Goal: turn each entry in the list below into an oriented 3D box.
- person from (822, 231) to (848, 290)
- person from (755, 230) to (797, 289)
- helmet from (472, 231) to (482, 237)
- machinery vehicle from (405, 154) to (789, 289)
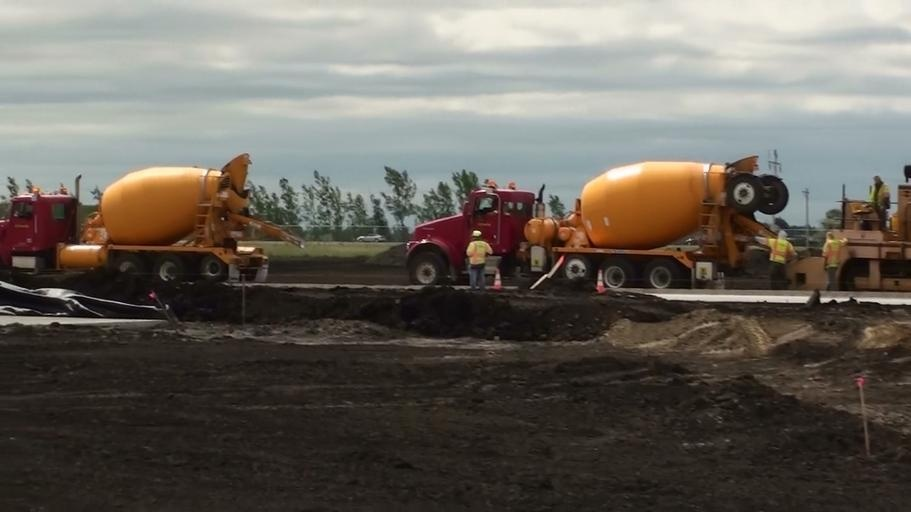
[{"bbox_3d":[11.148,0.150,28.540,0.539,1.728,1.066,6,13,29],"label":"person"},{"bbox_3d":[9.478,0.117,28.531,0.971,1.741,1.120,3,12,14],"label":"person"},{"bbox_3d":[0.635,-0.676,29.515,0.260,0.116,0.238,0,-2,17],"label":"helmet"},{"bbox_3d":[4.600,-0.930,31.607,12.856,3.458,3.434,0,7,31],"label":"machinery vehicle"}]
